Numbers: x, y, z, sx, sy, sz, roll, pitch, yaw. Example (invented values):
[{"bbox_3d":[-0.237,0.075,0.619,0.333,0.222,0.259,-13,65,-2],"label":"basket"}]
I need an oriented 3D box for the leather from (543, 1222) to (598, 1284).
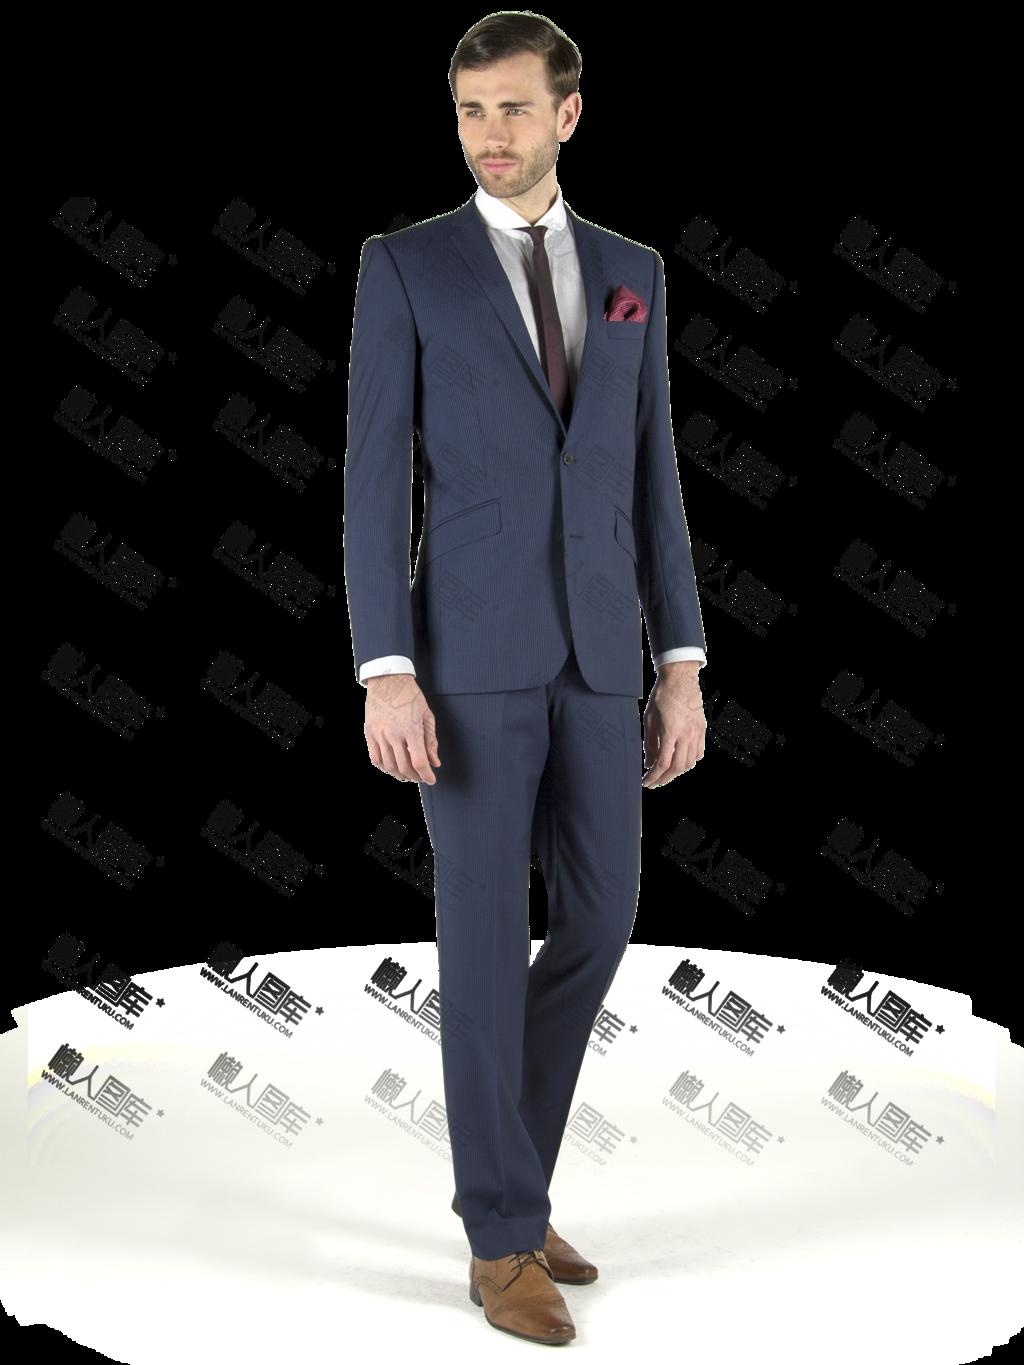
[{"bbox_3d":[0.089,0.954,2.587,0.044,0.049,0.126,-1,-2,-27],"label":"leather"}]

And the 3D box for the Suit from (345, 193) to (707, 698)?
[{"bbox_3d":[0.039,-0.380,2.513,0.648,0.804,0.250,-3,5,-34],"label":"Suit"}]

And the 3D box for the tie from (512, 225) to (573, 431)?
[{"bbox_3d":[0.047,-0.565,2.466,0.050,0.362,0.038,-9,4,-8],"label":"tie"}]

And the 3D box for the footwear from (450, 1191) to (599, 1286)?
[{"bbox_3d":[0.035,0.954,2.637,0.108,0.139,0.328,-6,3,-34],"label":"footwear"}]

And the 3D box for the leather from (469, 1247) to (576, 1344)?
[{"bbox_3d":[0.017,0.933,2.367,0.100,0.086,0.198,-2,5,-19],"label":"leather"}]
